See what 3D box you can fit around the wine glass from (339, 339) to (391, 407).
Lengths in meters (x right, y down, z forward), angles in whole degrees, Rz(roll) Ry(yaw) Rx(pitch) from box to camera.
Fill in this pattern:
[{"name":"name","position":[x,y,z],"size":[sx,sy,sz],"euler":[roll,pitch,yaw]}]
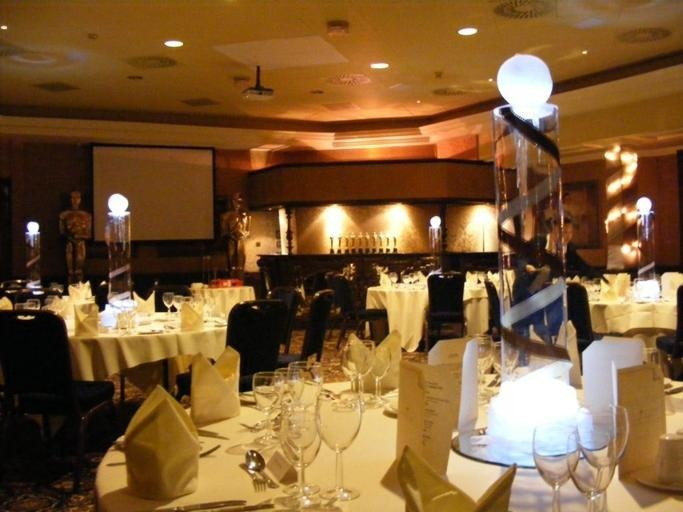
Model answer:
[{"name":"wine glass","position":[0.059,0.391,2.065],"size":[0.203,0.301,0.182],"euler":[-2,6,-10]}]

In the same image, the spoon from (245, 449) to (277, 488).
[{"name":"spoon","position":[-0.211,0.545,1.500],"size":[0.036,0.027,0.161],"euler":[-26,10,-5]}]

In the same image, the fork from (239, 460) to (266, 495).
[{"name":"fork","position":[-0.221,0.558,1.467],"size":[0.025,0.020,0.170],"euler":[-31,14,-14]}]

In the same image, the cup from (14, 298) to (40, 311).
[{"name":"cup","position":[-2.268,0.349,4.228],"size":[0.109,0.081,0.110],"euler":[3,-2,0]}]
